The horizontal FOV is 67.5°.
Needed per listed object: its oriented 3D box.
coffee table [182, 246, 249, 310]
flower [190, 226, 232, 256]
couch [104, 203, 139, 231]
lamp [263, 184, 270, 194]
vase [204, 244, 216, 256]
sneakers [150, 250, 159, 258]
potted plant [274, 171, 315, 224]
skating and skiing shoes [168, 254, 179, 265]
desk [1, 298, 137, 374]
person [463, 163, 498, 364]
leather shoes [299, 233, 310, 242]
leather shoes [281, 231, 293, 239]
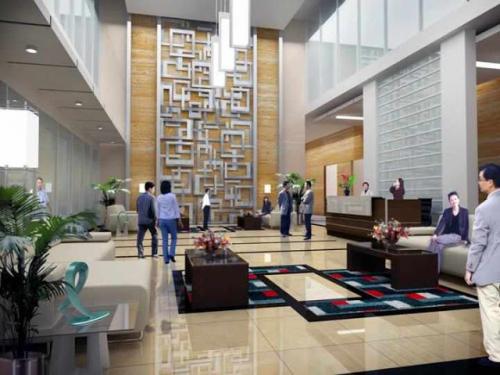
[{"bbox_3d":[-0.501,1.072,5.233,0.588,0.505,1.102,1,-3,-13],"label":"coffee table"},{"bbox_3d":[-0.604,0.840,5.711,0.513,0.377,0.512,1,1,-30],"label":"flower"},{"bbox_3d":[-4.172,1.053,12.061,0.830,0.875,1.178,0,1,-17],"label":"couch"},{"bbox_3d":[0.680,0.061,15.645,0.335,0.324,0.077,2,3,-35],"label":"lamp"},{"bbox_3d":[-0.585,0.930,5.534,0.187,0.193,0.160,-1,-3,37],"label":"vase"},{"bbox_3d":[-2.021,1.420,7.920,0.185,0.185,0.091,-2,6,-32],"label":"sneakers"},{"bbox_3d":[1.948,0.365,15.312,1.755,2.358,2.232,-1,0,-3],"label":"potted plant"},{"bbox_3d":[-1.527,1.436,7.369,0.119,0.168,0.365,1,-8,-10],"label":"skating and skiing shoes"},{"bbox_3d":[-1.592,1.450,3.259,0.984,0.602,0.547,-3,6,-21],"label":"desk"},{"bbox_3d":[2.325,0.725,3.728,0.308,1.881,0.525,3,7,31],"label":"person"},{"bbox_3d":[1.602,1.468,10.664,0.122,0.142,0.346,-6,-17,28],"label":"leather shoes"},{"bbox_3d":[1.096,1.444,11.465,0.410,0.304,0.135,-3,4,-28],"label":"leather shoes"}]
